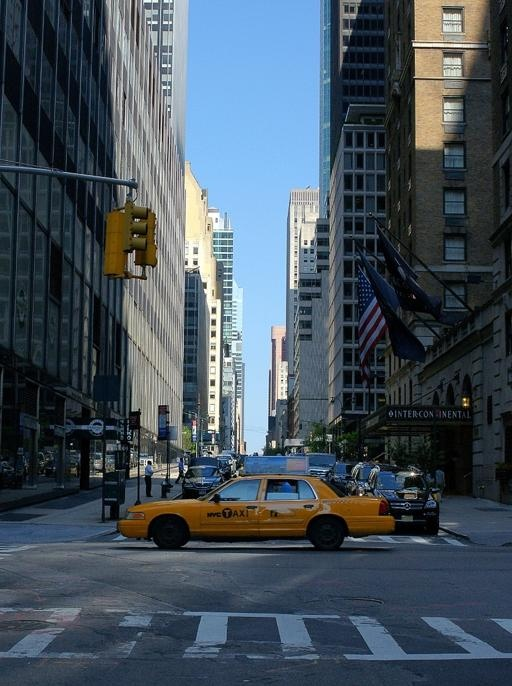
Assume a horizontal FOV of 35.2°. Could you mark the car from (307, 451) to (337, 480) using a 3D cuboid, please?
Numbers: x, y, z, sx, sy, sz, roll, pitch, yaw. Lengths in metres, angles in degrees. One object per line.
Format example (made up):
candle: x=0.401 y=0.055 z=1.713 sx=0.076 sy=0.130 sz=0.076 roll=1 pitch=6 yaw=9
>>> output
car: x=3.326 y=5.618 z=39.835 sx=1.174 sy=1.858 sz=3.101 roll=0 pitch=-13 yaw=-2

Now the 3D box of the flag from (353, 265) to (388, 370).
flag: x=6.505 y=-1.470 z=44.621 sx=1.820 sy=0.406 sz=7.139 roll=-2 pitch=-57 yaw=10

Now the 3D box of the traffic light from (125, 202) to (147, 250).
traffic light: x=-1.604 y=-1.522 z=10.820 sx=0.213 sy=0.686 sz=0.205 roll=1 pitch=-8 yaw=1

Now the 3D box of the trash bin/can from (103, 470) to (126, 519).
trash bin/can: x=-4.207 y=4.407 z=23.979 sx=0.333 sy=1.519 sz=0.671 roll=-1 pitch=-5 yaw=9

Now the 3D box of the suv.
suv: x=4.002 y=4.055 z=21.742 sx=0.997 sy=1.356 sz=2.879 roll=0 pitch=-14 yaw=1

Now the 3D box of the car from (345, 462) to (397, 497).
car: x=3.374 y=4.122 z=25.162 sx=0.748 sy=1.047 sz=1.972 roll=0 pitch=-12 yaw=0

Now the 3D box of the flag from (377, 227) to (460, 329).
flag: x=7.597 y=-3.821 z=42.535 sx=2.116 sy=8.182 sz=1.355 roll=-3 pitch=-46 yaw=-10
